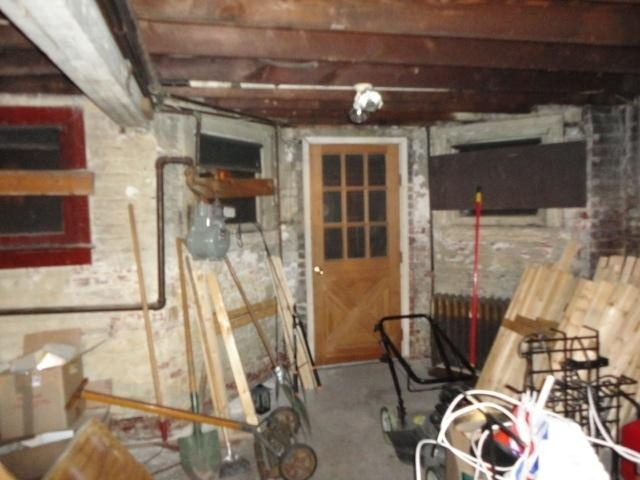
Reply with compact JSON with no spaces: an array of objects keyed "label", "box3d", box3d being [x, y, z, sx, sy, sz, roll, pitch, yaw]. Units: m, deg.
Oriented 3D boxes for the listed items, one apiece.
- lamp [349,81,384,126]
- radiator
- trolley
[{"label":"lamp","box3d":[0.398,-1.246,5.157,0.197,0.295,0.319,4,49,3]},{"label":"radiator","box3d":[1.575,0.944,6.131,0.845,0.776,0.078,2,0,44]},{"label":"trolley","box3d":[0.978,1.353,5.520,0.973,1.011,0.816,-19,-36,35]}]
